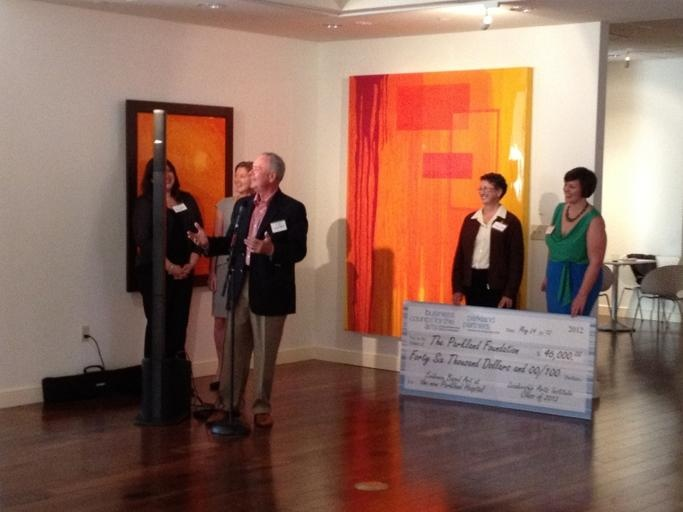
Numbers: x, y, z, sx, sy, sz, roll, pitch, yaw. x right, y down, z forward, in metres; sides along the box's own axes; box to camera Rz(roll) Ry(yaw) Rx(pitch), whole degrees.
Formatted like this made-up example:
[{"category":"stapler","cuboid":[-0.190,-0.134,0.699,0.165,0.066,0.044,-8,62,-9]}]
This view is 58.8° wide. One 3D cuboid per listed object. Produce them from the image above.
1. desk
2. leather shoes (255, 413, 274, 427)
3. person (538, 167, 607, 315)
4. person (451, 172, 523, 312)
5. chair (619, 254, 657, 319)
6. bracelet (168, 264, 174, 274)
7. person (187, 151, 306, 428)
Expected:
[{"category":"desk","cuboid":[4.542,0.577,10.067,1.109,1.231,1.170,2,7,20]},{"category":"leather shoes","cuboid":[-0.660,1.410,5.183,0.087,0.155,0.146,7,-15,-27]},{"category":"person","cuboid":[2.164,-0.126,5.617,0.303,1.364,0.477,-1,8,-24]},{"category":"person","cuboid":[1.451,-0.142,6.014,0.686,1.326,0.336,5,7,19]},{"category":"chair","cuboid":[5.242,0.416,10.741,0.808,1.043,0.654,-1,0,-40]},{"category":"bracelet","cuboid":[-1.687,0.131,5.975,0.072,0.080,0.020,-2,-1,-2]},{"category":"person","cuboid":[-0.737,0.336,5.025,0.811,2.354,0.772,4,7,13]}]
